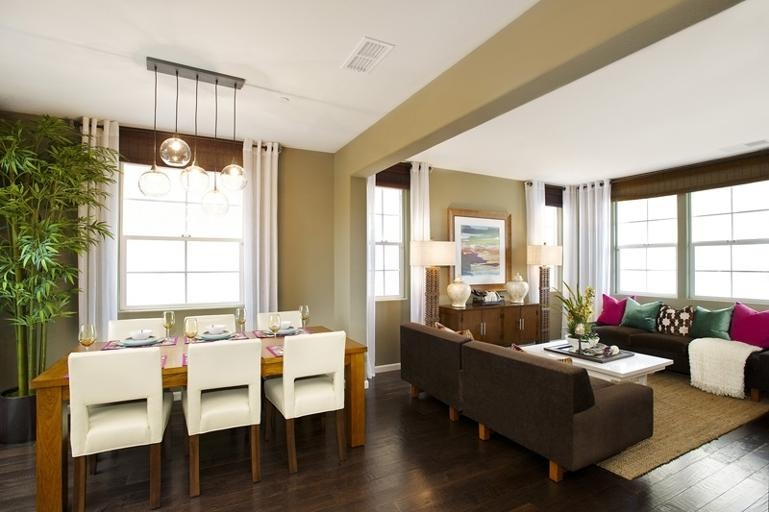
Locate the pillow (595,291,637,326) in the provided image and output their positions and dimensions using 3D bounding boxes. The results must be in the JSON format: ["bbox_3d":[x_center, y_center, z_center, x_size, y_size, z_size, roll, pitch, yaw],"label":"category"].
[{"bbox_3d":[3.816,0.884,8.392,0.174,0.486,0.482,32,-12,-24],"label":"pillow"}]

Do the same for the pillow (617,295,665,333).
[{"bbox_3d":[4.016,0.924,7.982,0.199,0.444,0.510,44,-23,-21],"label":"pillow"}]

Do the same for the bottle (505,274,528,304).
[{"bbox_3d":[2.176,0.538,8.420,0.349,0.451,0.545,0,0,12],"label":"bottle"}]

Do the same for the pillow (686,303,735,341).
[{"bbox_3d":[4.565,0.952,7.145,0.206,0.386,0.442,40,-16,-22],"label":"pillow"}]

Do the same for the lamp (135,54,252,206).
[{"bbox_3d":[-2.200,-1.453,5.740,0.377,1.716,1.273,-11,-12,44],"label":"lamp"}]

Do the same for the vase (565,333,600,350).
[{"bbox_3d":[2.583,1.126,6.656,0.274,0.116,0.275,1,-6,-4],"label":"vase"}]

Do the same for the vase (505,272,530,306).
[{"bbox_3d":[2.127,0.534,8.372,0.436,0.531,0.439,2,-5,-1],"label":"vase"}]

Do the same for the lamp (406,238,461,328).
[{"bbox_3d":[0.710,0.382,7.537,0.664,1.231,0.389,0,1,3],"label":"lamp"}]

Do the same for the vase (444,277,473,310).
[{"bbox_3d":[1.095,0.550,7.849,0.424,0.517,0.434,0,-5,3],"label":"vase"}]

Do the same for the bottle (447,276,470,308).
[{"bbox_3d":[1.041,0.563,7.791,0.413,0.487,0.416,1,-5,1],"label":"bottle"}]
